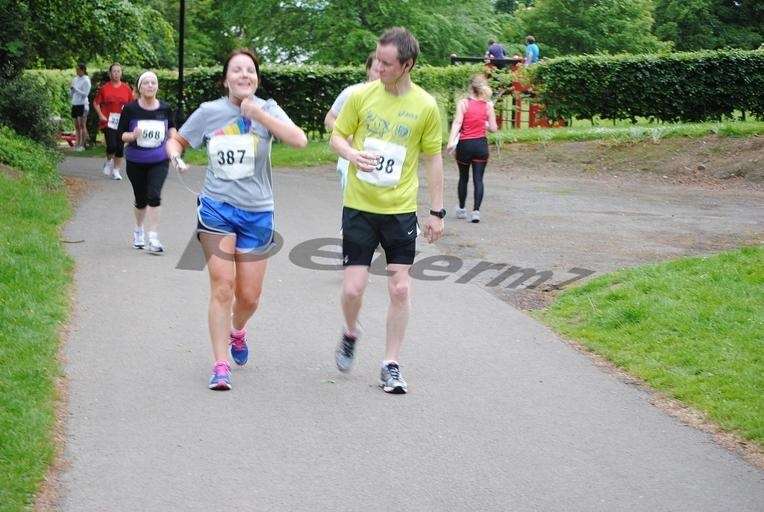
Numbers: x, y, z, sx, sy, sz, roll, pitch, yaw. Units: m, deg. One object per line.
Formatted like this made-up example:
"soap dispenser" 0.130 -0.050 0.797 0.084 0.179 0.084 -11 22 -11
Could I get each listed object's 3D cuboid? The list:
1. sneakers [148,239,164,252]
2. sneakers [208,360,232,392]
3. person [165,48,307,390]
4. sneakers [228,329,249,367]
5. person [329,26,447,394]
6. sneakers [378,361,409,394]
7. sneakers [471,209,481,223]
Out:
"sneakers" -3.151 -0.148 9.047 0.198 0.206 0.208 -5 15 -18
"sneakers" -1.264 0.953 5.088 0.131 0.118 0.299 0 -1 -10
"person" -1.151 -0.294 5.165 0.876 2.600 0.713 -6 16 -22
"sneakers" -1.224 0.777 5.593 0.138 0.325 0.155 -12 6 -26
"person" 0.055 -0.343 5.175 0.899 2.861 0.631 -1 15 -4
"sneakers" 0.100 0.985 5.251 0.165 0.139 0.311 1 2 -19
"sneakers" 1.729 -0.717 12.032 0.126 0.124 0.320 0 -1 1
